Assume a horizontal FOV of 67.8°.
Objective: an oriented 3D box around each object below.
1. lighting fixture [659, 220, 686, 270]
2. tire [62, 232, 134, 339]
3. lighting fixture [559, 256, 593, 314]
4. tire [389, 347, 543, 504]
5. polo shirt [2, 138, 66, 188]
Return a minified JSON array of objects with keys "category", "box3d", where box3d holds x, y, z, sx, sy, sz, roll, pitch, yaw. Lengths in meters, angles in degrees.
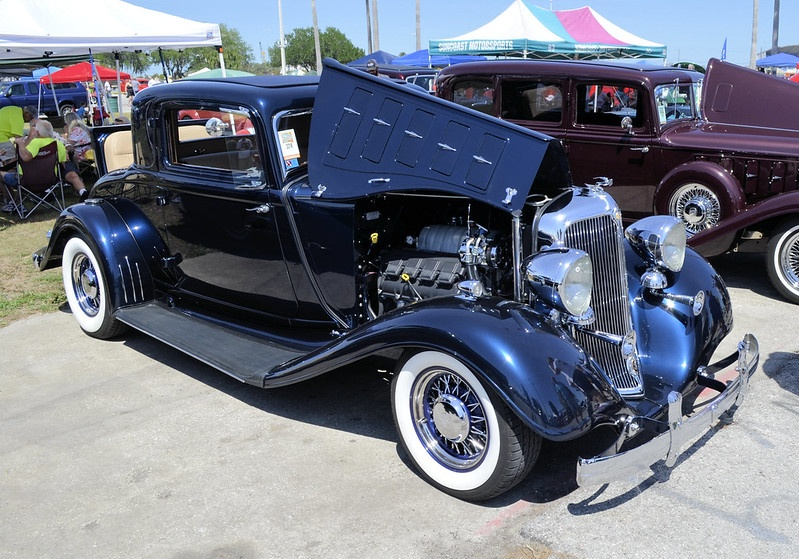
[{"category":"lighting fixture","box3d":[2.027,-0.261,4.435,0.356,0.476,0.089,1,0,-44]},{"category":"tire","box3d":[-2.791,0.029,5.541,0.810,0.935,0.280,10,18,41]},{"category":"lighting fixture","box3d":[1.098,0.036,3.726,0.278,0.431,0.077,-12,20,-27]},{"category":"tire","box3d":[0.396,0.849,3.809,0.360,1.038,0.971,-18,23,-40]},{"category":"polo shirt","box3d":[-5.950,-1.799,9.710,0.737,1.029,0.544,5,4,-17]}]
